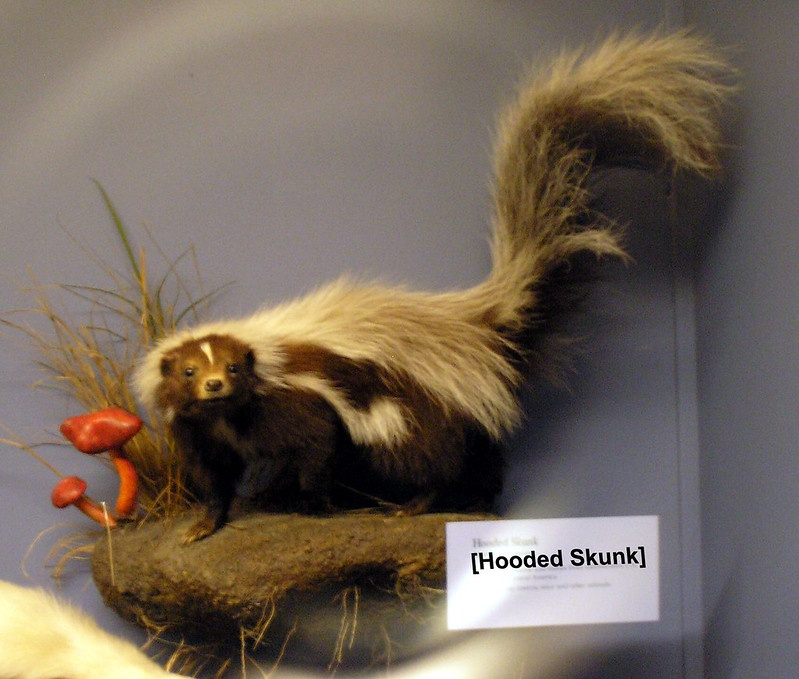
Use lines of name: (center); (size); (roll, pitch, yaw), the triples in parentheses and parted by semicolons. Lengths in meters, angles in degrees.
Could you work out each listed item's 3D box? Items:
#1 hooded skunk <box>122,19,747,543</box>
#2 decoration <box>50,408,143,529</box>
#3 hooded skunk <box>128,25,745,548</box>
hooded skunk: (0.262, -0.442, 4.556); (2.357, 2.016, 0.859); (-11, 17, -12)
decoration: (-0.861, 0.278, 3.886); (0.275, 0.476, 0.266); (-3, 23, -20)
hooded skunk: (0.079, -0.136, 3.914); (1.618, 1.367, 0.635); (-8, 33, -5)
